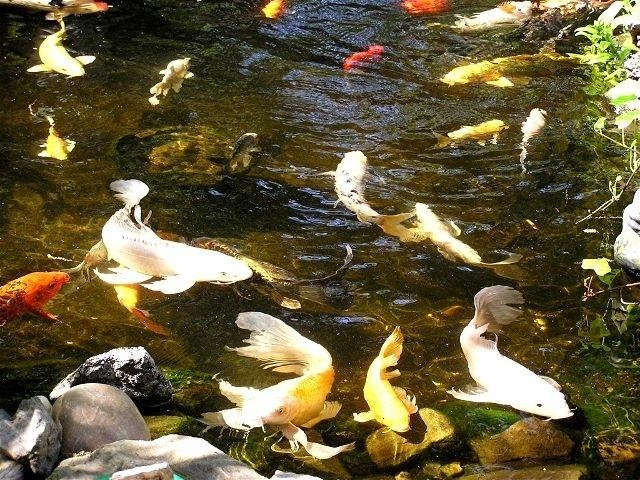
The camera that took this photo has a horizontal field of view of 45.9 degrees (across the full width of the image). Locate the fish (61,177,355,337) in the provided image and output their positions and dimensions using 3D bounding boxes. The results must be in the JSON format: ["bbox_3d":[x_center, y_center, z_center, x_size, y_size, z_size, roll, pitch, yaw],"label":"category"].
[{"bbox_3d":[-1.279,0.118,6.009,1.647,0.970,0.967,12,20,32],"label":"fish"}]

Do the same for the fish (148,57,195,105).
[{"bbox_3d":[-1.585,-1.644,7.902,0.251,0.465,0.790,8,16,12],"label":"fish"}]

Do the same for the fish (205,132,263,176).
[{"bbox_3d":[-0.747,-0.817,6.998,0.276,0.255,0.651,39,57,25],"label":"fish"}]

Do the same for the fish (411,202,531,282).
[{"bbox_3d":[1.154,-0.008,6.314,0.996,0.338,0.376,26,-7,36],"label":"fish"}]

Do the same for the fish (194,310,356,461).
[{"bbox_3d":[-0.287,0.989,5.273,0.987,0.743,0.991,1,16,-5],"label":"fish"}]

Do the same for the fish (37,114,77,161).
[{"bbox_3d":[-2.451,-0.899,7.009,0.286,0.111,0.403,-18,42,-19],"label":"fish"}]
